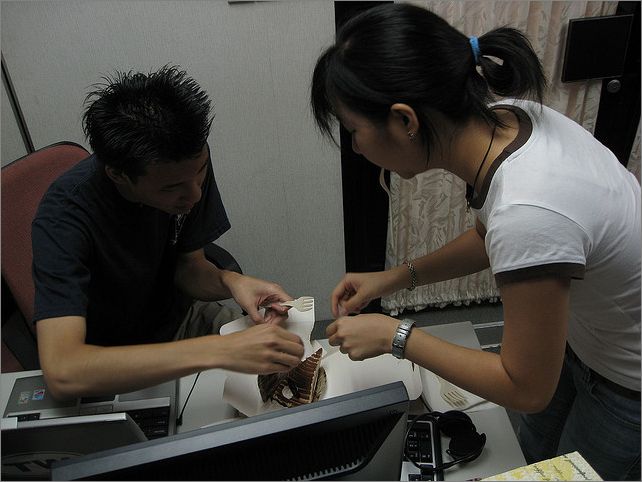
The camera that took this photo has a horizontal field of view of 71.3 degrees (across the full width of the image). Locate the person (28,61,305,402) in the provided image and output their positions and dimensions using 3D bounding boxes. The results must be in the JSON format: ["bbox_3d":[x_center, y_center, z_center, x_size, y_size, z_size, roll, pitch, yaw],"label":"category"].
[{"bbox_3d":[-0.554,-0.081,1.553,0.657,0.982,0.720,18,46,14],"label":"person"}]

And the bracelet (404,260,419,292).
[{"bbox_3d":[0.293,0.120,1.472,0.027,0.083,0.065,-7,4,-9],"label":"bracelet"}]

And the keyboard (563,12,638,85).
[{"bbox_3d":[1.285,-0.911,2.087,0.270,0.278,0.028,-6,31,-8],"label":"keyboard"}]
